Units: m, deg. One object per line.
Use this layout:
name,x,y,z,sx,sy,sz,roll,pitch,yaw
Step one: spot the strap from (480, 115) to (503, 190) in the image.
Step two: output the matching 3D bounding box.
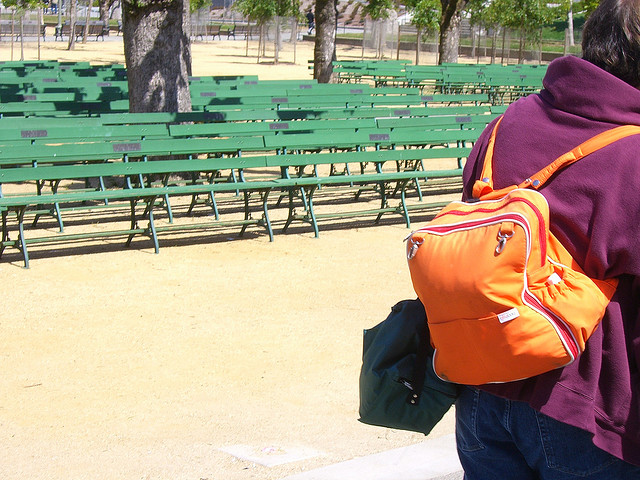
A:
strap,0.531,-0.267,2.551,0.030,0.225,0.053,7,11,4

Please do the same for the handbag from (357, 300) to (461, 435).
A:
handbag,0.228,0.405,2.760,0.230,0.439,0.308,8,-9,-24

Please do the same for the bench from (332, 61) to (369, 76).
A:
bench,1.022,-5.290,25.171,1.208,0.384,1.206,5,15,15

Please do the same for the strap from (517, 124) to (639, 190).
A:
strap,0.770,-0.241,2.399,0.310,0.066,0.033,-30,-34,12
